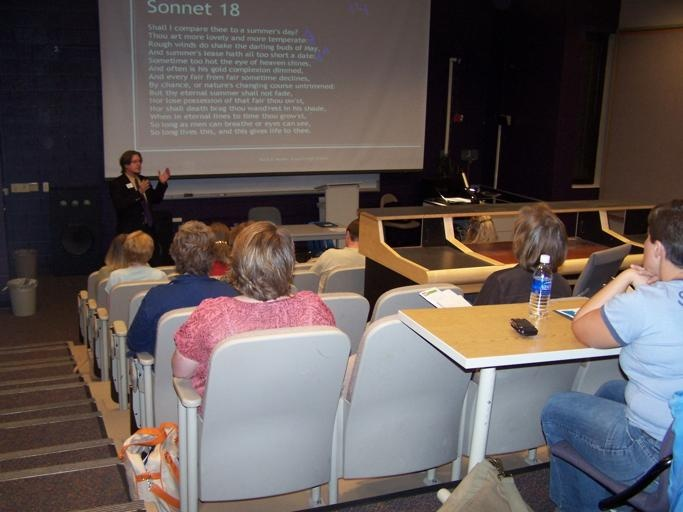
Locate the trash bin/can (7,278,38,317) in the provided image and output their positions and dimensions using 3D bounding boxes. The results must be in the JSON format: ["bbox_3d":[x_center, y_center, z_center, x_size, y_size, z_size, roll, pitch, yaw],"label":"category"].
[{"bbox_3d":[-3.236,0.409,5.364,0.329,0.376,0.344,2,7,1],"label":"trash bin/can"}]
